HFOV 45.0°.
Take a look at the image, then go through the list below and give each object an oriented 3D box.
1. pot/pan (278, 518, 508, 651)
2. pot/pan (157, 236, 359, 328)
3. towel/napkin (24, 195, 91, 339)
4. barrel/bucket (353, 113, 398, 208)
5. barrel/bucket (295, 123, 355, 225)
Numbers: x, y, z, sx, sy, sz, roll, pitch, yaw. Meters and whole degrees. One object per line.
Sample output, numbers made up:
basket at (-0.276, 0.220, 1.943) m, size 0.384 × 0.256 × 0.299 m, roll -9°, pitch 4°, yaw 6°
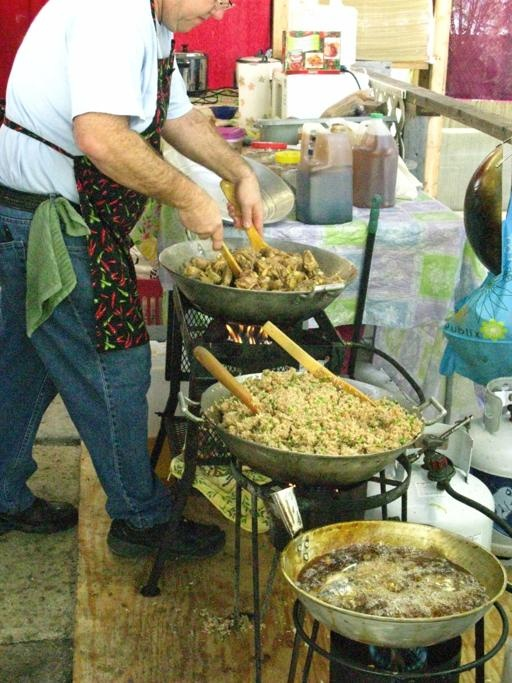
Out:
pot/pan at (0.198, 0.342, 0.877) m, size 0.309 × 0.093 × 0.270 m, roll -6°, pitch 9°, yaw -34°
pot/pan at (0.017, -0.113, 1.553) m, size 0.524 × 0.226 × 0.423 m, roll -6°, pitch 23°, yaw -23°
towel/napkin at (-0.493, -0.174, 1.482) m, size 0.205 × 0.327 × 0.079 m, roll 5°, pitch 11°, yaw 36°
barrel/bucket at (0.392, -0.574, 2.056) m, size 0.177 × 0.323 × 0.181 m, roll 3°, pitch 22°, yaw -1°
barrel/bucket at (0.213, -0.531, 1.983) m, size 0.187 × 0.301 × 0.187 m, roll 1°, pitch 23°, yaw -1°
